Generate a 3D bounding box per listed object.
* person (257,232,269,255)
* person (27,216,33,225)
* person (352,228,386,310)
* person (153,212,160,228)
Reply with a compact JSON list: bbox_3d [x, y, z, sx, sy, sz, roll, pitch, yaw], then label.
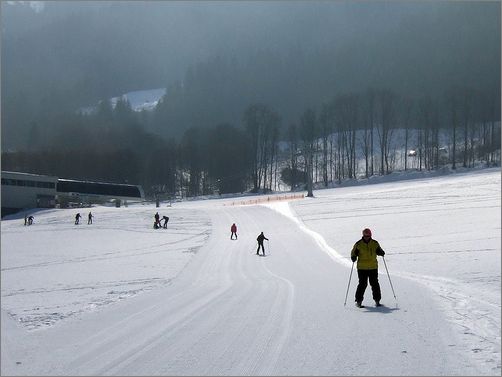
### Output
[{"bbox_3d":[0.759,3.635,28.816,0.677,1.570,0.527,14,29,30],"label":"person"},{"bbox_3d":[-29.317,4.212,58.005,0.677,1.065,0.800,4,6,26],"label":"person"},{"bbox_3d":[3.949,2.599,14.717,0.999,2.660,1.269,-3,-1,18],"label":"person"},{"bbox_3d":[-9.738,3.335,45.152,0.521,1.503,1.525,-3,-1,-5],"label":"person"}]
